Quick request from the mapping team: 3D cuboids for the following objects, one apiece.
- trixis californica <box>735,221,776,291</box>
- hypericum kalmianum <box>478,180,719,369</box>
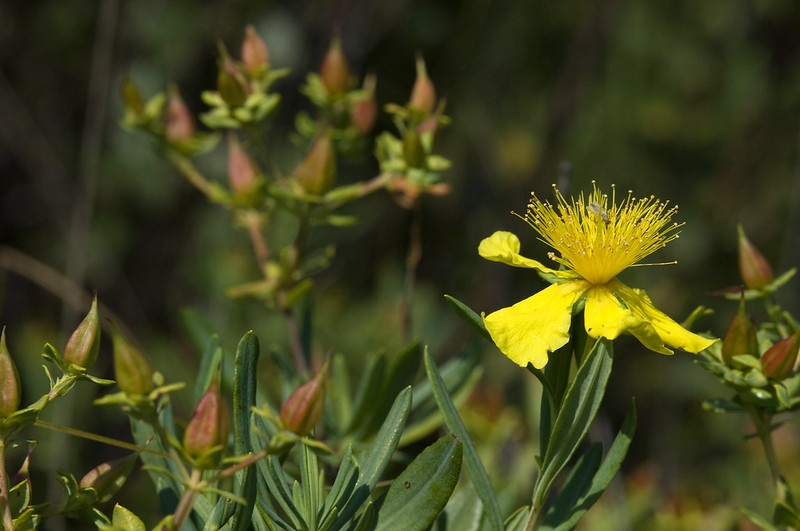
[{"bbox_3d":[0.686,-0.021,1.687,0.073,0.112,0.124,6,42,13],"label":"trixis californica"},{"bbox_3d":[0.315,0.042,1.538,0.342,0.228,0.341,4,23,-8],"label":"hypericum kalmianum"}]
